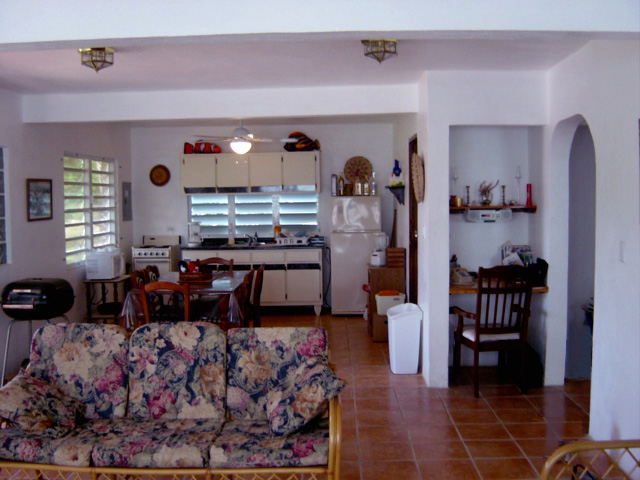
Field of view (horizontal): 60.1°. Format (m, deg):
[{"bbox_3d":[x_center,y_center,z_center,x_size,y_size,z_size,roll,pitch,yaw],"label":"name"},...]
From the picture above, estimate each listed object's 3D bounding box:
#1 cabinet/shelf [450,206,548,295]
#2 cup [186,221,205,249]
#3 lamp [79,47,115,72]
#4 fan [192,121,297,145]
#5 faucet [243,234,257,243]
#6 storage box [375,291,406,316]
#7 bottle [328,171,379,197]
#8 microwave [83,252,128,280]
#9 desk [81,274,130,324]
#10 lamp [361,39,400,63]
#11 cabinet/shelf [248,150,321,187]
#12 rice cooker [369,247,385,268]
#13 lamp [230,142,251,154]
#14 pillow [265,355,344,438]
[{"bbox_3d":[1.811,0.078,5.545,0.842,0.837,0.316,0,0,6],"label":"cabinet/shelf"},{"bbox_3d":[-1.832,-0.092,8.054,0.297,0.531,0.306,0,2,0],"label":"cup"},{"bbox_3d":[-1.815,-1.458,4.503,0.258,0.241,0.271,-7,25,-16],"label":"lamp"},{"bbox_3d":[-0.962,-1.423,7.286,1.385,0.281,2.365,-3,11,-13],"label":"fan"},{"bbox_3d":[-1.017,-0.031,8.189,0.136,0.091,0.135,0,15,-1],"label":"faucet"},{"bbox_3d":[0.818,0.739,6.574,0.325,0.304,0.228,0,1,-4],"label":"storage box"},{"bbox_3d":[0.475,-0.806,7.980,0.649,0.310,0.414,0,10,4],"label":"bottle"},{"bbox_3d":[-2.744,0.303,7.051,0.304,0.341,0.456,2,-1,39],"label":"microwave"},{"bbox_3d":[-2.749,0.745,7.160,0.560,0.606,0.993,-5,11,-20],"label":"desk"},{"bbox_3d":[0.463,-1.499,4.387,0.240,0.162,0.250,0,4,0],"label":"lamp"},{"bbox_3d":[-0.525,-1.014,7.849,0.995,0.470,0.115,0,9,8],"label":"cabinet/shelf"},{"bbox_3d":[0.719,0.232,7.166,0.202,0.252,0.180,5,6,42],"label":"rice cooker"},{"bbox_3d":[-0.905,-1.066,6.292,0.204,0.130,0.311,-4,11,-15],"label":"lamp"},{"bbox_3d":[-0.103,1.042,3.692,0.502,0.376,0.282,-2,10,-5],"label":"pillow"}]
